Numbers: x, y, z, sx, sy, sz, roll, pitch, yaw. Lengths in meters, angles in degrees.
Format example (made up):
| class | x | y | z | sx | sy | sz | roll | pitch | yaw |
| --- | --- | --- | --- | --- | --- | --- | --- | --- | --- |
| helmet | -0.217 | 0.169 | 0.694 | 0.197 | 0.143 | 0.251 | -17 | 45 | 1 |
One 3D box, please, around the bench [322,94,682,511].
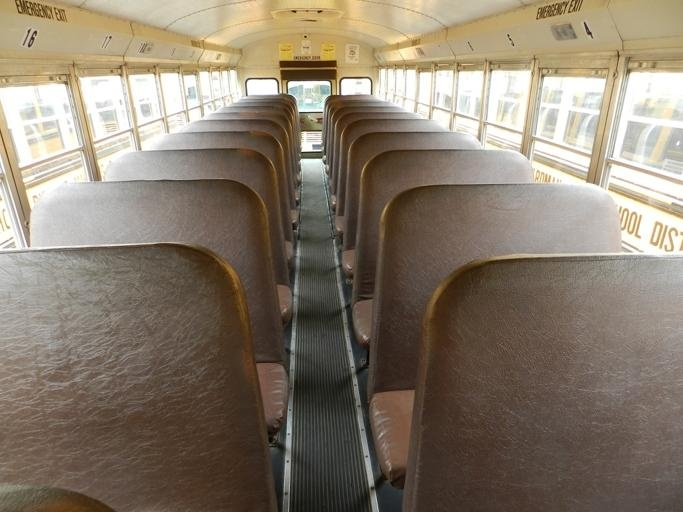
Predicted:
| class | x | y | z | sx | sy | sz | roll | pitch | yaw |
| --- | --- | --- | --- | --- | --- | --- | --- | --- | --- |
| bench | 0.440 | -0.001 | 2.297 | 1.400 | 1.888 | 1.493 | 2 | 17 | 4 |
